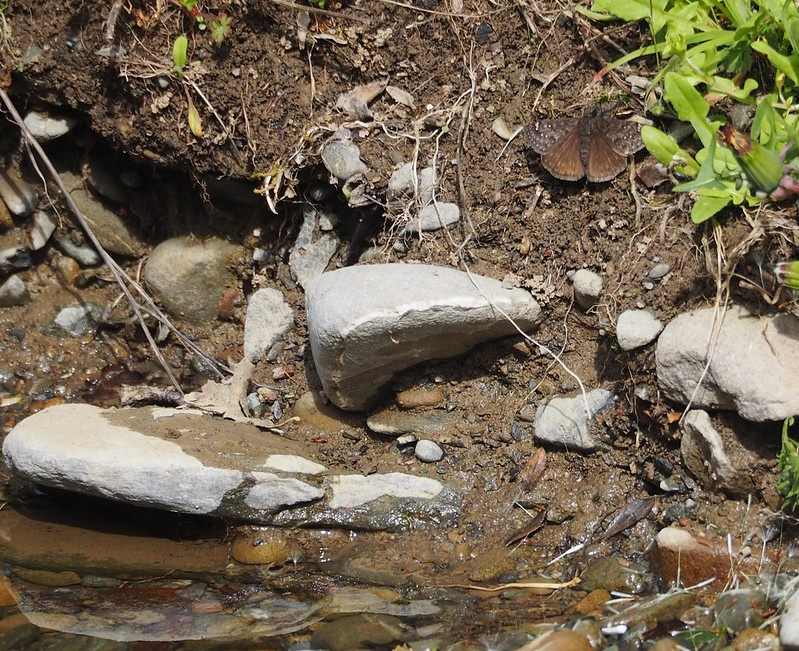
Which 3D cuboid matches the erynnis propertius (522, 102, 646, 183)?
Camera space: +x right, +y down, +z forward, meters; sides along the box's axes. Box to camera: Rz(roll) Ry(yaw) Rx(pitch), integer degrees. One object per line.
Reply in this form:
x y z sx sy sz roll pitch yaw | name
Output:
0.926 -0.899 4.321 0.604 0.131 0.403 0 62 0 | erynnis propertius
